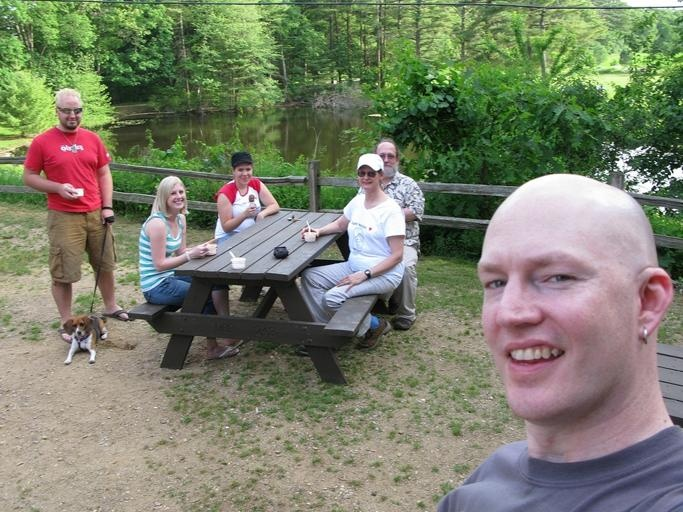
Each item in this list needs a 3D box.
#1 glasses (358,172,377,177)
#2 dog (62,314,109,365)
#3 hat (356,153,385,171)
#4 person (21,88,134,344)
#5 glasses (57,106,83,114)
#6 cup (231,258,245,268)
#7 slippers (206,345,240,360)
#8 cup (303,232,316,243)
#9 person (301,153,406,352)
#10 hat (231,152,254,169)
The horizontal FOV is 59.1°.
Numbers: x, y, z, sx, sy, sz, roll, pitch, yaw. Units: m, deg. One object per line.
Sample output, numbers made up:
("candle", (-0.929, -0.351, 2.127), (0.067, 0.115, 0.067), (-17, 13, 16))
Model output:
("glasses", (0.205, -0.665, 4.912), (0.148, 0.052, 0.064), (10, 15, 33))
("dog", (-2.217, 0.634, 5.175), (0.296, 0.316, 0.665), (-5, 12, -11))
("hat", (0.247, -0.769, 4.944), (0.180, 0.085, 0.203), (0, -5, 12))
("person", (-2.342, -0.402, 5.428), (0.735, 2.133, 0.745), (19, 22, 41))
("glasses", (-2.333, -1.245, 5.173), (0.166, 0.058, 0.068), (-7, 16, -38))
("cup", (-0.770, 0.061, 4.549), (0.106, 0.044, 0.078), (-1, 13, 2))
("slippers", (-0.980, 0.807, 4.973), (0.218, 0.042, 0.110), (-2, 5, -36))
("cup", (-0.281, -0.154, 5.261), (0.127, 0.059, 0.083), (-9, 8, -5))
("person", (0.131, -0.005, 5.135), (1.177, 1.499, 0.898), (-3, 12, 9))
("hat", (-0.953, -0.919, 5.773), (0.174, 0.148, 0.273), (2, 12, -7))
